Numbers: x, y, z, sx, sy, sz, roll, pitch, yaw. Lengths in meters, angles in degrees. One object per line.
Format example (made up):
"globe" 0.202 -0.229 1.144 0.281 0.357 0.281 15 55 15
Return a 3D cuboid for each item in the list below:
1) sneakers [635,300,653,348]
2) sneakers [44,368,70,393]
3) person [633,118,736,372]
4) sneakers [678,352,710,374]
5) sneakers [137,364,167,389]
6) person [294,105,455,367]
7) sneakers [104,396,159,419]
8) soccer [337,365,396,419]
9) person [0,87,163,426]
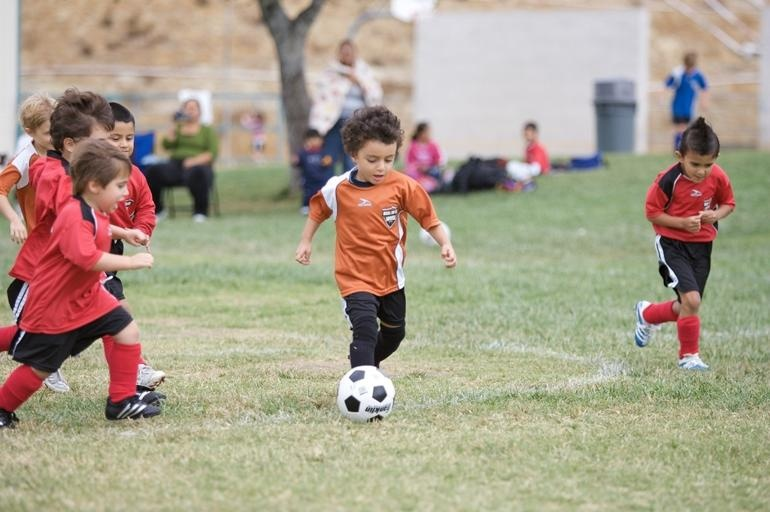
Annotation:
"sneakers" 2.020 0.532 8.591 0.128 0.375 0.180 -5 11 -26
"sneakers" -2.285 0.901 7.684 0.246 0.158 0.097 5 3 12
"person" 2.285 -0.107 8.331 0.692 1.898 0.470 2 6 24
"sneakers" 2.330 0.828 8.226 0.098 0.111 0.244 1 -3 -39
"sneakers" -1.638 0.862 7.744 0.260 0.129 0.096 1 4 28
"person" -0.090 -0.114 7.648 1.068 1.887 0.508 -1 5 -5
"sneakers" -1.732 1.048 7.440 0.404 0.178 0.145 -1 3 -11
"soccer" -0.147 0.952 7.368 0.347 0.325 0.369 2 -13 35
"person" -2.088 0.008 7.352 1.063 2.238 0.693 0 5 -1
